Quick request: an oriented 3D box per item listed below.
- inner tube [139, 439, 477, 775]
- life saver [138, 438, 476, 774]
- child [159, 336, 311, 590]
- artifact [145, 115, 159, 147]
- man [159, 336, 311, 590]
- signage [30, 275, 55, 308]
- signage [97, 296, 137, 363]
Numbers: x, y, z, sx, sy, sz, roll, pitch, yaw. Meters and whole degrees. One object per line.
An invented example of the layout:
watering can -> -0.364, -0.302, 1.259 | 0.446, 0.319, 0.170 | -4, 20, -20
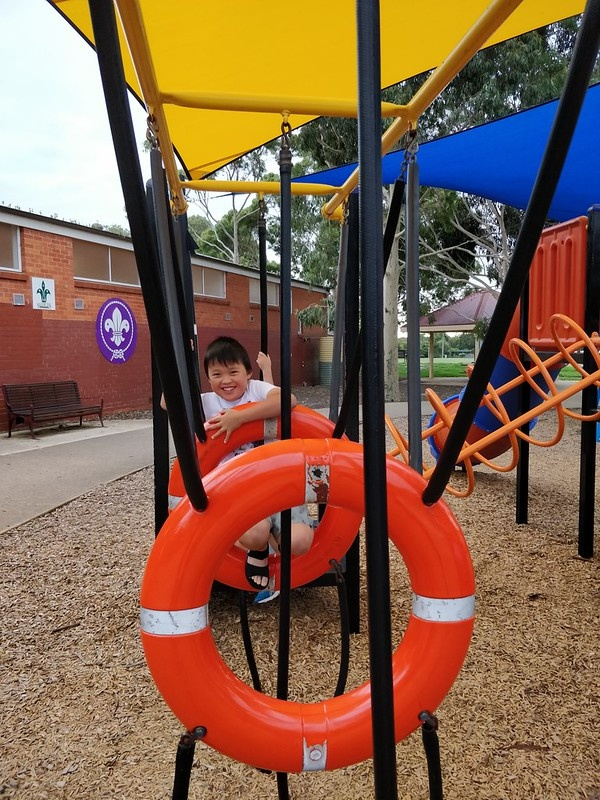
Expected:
inner tube -> 0.009, 0.475, 1.294 | 0.587, 0.855, 0.189 | 2, -5, -1
life saver -> 0.008, 0.472, 1.296 | 0.584, 0.849, 0.188 | 4, -5, -1
child -> -0.190, 0.277, 2.146 | 0.294, 1.043, 0.448 | -16, 17, -25
artifact -> -0.336, -0.609, 1.345 | 0.028, 0.072, 0.060 | -6, 17, -14
man -> -0.188, 0.307, 2.092 | 0.319, 1.155, 0.516 | -4, -12, -19
signage -> -3.959, -1.665, 9.077 | 0.025, 0.599, 0.447 | 1, -1, 17
signage -> -3.265, -1.256, 10.482 | 0.123, 1.174, 0.861 | 5, 13, 21
